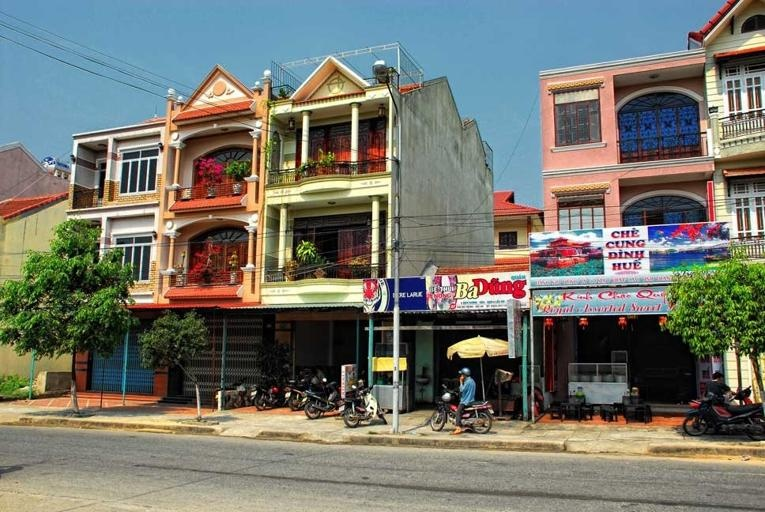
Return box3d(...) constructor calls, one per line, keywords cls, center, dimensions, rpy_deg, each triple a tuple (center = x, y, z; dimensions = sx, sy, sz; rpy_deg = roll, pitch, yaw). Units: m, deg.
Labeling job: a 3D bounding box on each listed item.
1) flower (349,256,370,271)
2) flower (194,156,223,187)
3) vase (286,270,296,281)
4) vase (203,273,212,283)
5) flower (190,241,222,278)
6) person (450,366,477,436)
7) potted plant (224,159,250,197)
box3d(cls="flower", center=(-1.016, 0.288, 35.640), dimensions=(0.864, 0.747, 0.843), rpy_deg=(-1, -13, 2))
box3d(cls="flower", center=(-8.663, -4.225, 38.811), dimensions=(1.606, 1.696, 0.817), rpy_deg=(-2, -13, 3))
box3d(cls="vase", center=(-4.264, 0.924, 36.256), dimensions=(0.416, 0.430, 0.405), rpy_deg=(2, -7, -38))
box3d(cls="vase", center=(-8.429, 1.072, 37.483), dimensions=(0.483, 0.507, 0.474), rpy_deg=(-1, 0, -6))
box3d(cls="flower", center=(-8.866, 0.325, 38.313), dimensions=(1.826, 2.262, 0.969), rpy_deg=(-9, -15, 32))
box3d(cls="person", center=(3.029, 5.568, 29.193), dimensions=(0.741, 2.364, 0.984), rpy_deg=(8, -39, 6))
box3d(cls="potted plant", center=(-7.088, -3.745, 38.318), dimensions=(1.675, 1.752, 1.591), rpy_deg=(1, -7, 5))
